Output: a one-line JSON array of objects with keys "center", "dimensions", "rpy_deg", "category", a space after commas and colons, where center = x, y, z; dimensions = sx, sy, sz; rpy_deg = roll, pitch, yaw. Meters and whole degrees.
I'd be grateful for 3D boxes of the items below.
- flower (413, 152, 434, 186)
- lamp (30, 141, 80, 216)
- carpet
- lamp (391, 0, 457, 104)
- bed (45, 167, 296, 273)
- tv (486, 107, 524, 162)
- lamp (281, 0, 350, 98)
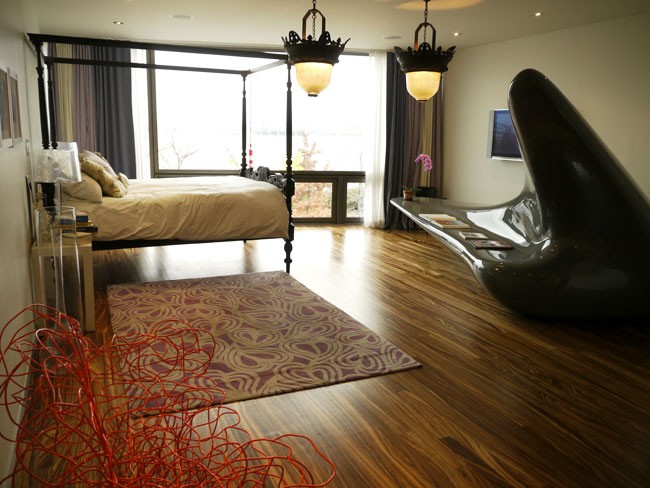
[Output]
[{"center": [1.539, -1.166, 6.775], "dimensions": [0.306, 0.471, 0.844], "rpy_deg": [5, 14, 13], "category": "flower"}, {"center": [-1.980, -0.489, 3.169], "dimensions": [0.254, 0.491, 0.647], "rpy_deg": [-6, 16, -32], "category": "lamp"}, {"center": [-0.548, 0.586, 3.306], "dimensions": [1.476, 0.021, 2.120], "rpy_deg": [-3, 13, -25], "category": "carpet"}, {"center": [0.985, -1.883, 4.240], "dimensions": [0.543, 1.033, 1.895], "rpy_deg": [5, 14, 13], "category": "lamp"}, {"center": [-1.496, -0.369, 4.454], "dimensions": [1.323, 0.834, 1.152], "rpy_deg": [-4, 14, -18], "category": "bed"}, {"center": [2.566, -1.496, 6.003], "dimensions": [0.070, 0.646, 0.673], "rpy_deg": [-11, 19, -23], "category": "tv"}, {"center": [-0.141, -1.742, 3.707], "dimensions": [0.417, 1.029, 1.524], "rpy_deg": [1, 13, -5], "category": "lamp"}]
